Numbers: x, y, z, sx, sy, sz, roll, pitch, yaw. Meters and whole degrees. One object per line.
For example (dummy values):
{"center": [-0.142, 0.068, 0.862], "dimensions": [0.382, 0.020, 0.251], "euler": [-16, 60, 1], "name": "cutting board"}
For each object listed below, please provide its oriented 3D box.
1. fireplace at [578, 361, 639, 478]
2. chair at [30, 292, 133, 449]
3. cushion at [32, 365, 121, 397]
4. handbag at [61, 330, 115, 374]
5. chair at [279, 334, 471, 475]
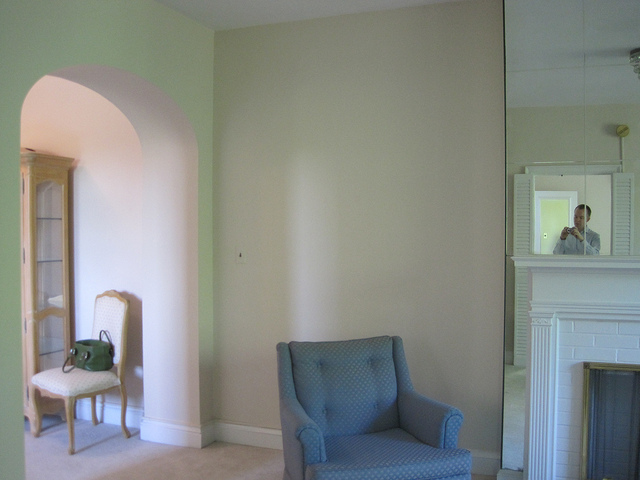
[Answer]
{"center": [1.807, 1.148, 3.583], "dimensions": [0.317, 0.653, 0.162], "euler": [-2, 10, 2], "name": "fireplace"}
{"center": [-1.936, 1.038, 4.706], "dimensions": [0.748, 1.170, 0.744], "euler": [1, 1, -27], "name": "chair"}
{"center": [-1.982, 1.116, 4.641], "dimensions": [0.671, 0.160, 0.355], "euler": [2, 12, 21], "name": "cushion"}
{"center": [-1.897, 0.902, 4.715], "dimensions": [0.400, 0.284, 0.264], "euler": [1, 5, -30], "name": "handbag"}
{"center": [0.266, 1.056, 3.583], "dimensions": [0.942, 0.945, 0.919], "euler": [1, -9, -14], "name": "chair"}
